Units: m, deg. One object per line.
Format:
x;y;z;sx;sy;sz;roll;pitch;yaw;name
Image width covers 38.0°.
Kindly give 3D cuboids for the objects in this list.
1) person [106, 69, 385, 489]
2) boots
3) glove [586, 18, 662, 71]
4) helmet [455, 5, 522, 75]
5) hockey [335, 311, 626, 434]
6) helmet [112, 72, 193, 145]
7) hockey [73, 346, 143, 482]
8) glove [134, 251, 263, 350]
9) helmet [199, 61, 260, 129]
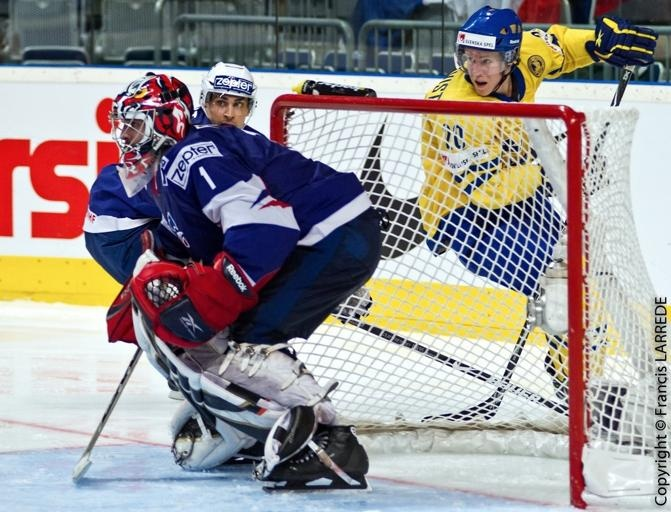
-0.229;0.224;4.348;1.524;2.124;1.049;-3;-8;2;person
-0.099;0.674;3.313;0.424;0.190;0.141;1;2;-34;boots
1.247;-0.934;4.277;0.300;0.192;0.093;8;-13;12;glove
0.643;-0.926;4.155;0.227;0.232;0.286;4;1;41;helmet
0.540;0.469;3.799;0.772;0.229;0.499;2;20;-20;hockey
-0.607;-0.517;3.441;0.305;0.231;0.229;-8;9;-9;helmet
-0.923;0.657;3.987;0.066;0.534;0.025;32;-6;8;hockey
-0.468;0.125;3.341;0.405;0.230;0.295;-7;18;-22;glove
-0.521;-0.751;4.652;0.346;0.363;0.388;5;9;-10;helmet
